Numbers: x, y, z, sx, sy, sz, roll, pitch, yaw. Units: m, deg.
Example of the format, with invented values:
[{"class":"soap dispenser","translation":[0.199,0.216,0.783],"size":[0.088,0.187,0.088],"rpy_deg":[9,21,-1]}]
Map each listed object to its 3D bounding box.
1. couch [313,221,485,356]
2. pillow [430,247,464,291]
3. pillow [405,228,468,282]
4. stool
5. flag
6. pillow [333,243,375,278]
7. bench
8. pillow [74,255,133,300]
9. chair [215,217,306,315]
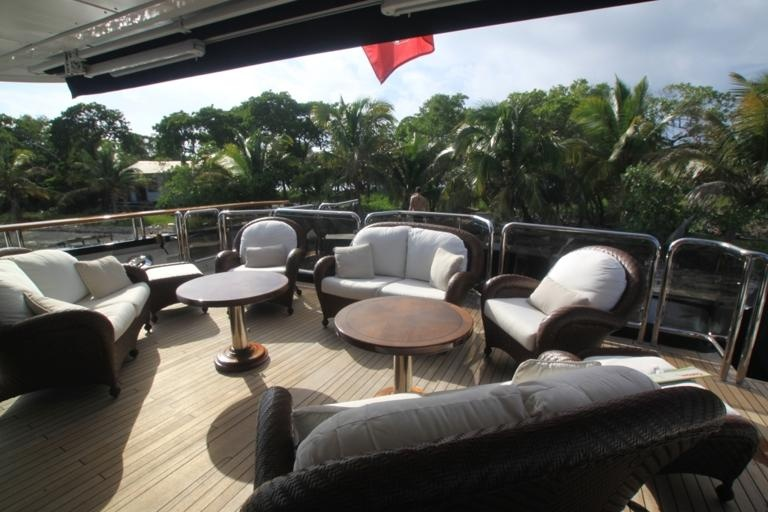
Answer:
[{"class":"couch","translation":[0.249,0.078,5.546],"size":[2.201,1.455,1.228],"rpy_deg":[4,14,21]},{"class":"pillow","translation":[0.735,0.161,5.234],"size":[0.211,0.386,0.429],"rpy_deg":[-6,9,-31]},{"class":"pillow","translation":[0.654,-0.003,5.484],"size":[0.573,0.405,0.205],"rpy_deg":[9,8,33]},{"class":"stool","translation":[-2.717,0.350,6.001],"size":[0.731,0.660,0.758],"rpy_deg":[-4,18,-15]},{"class":"flag","translation":[0.218,-2.273,5.489],"size":[0.667,0.682,0.323],"rpy_deg":[-16,-1,-3]},{"class":"pillow","translation":[-0.353,0.069,5.670],"size":[0.403,0.387,0.150],"rpy_deg":[0,-24,-6]},{"class":"bench","translation":[2.265,1.355,3.749],"size":[1.126,0.814,1.414],"rpy_deg":[-2,5,-8]},{"class":"pillow","translation":[-3.191,0.261,5.249],"size":[0.393,0.217,0.495],"rpy_deg":[48,20,17]},{"class":"chair","translation":[-1.628,0.078,6.528],"size":[1.195,1.444,1.225],"rpy_deg":[0,6,5]}]
